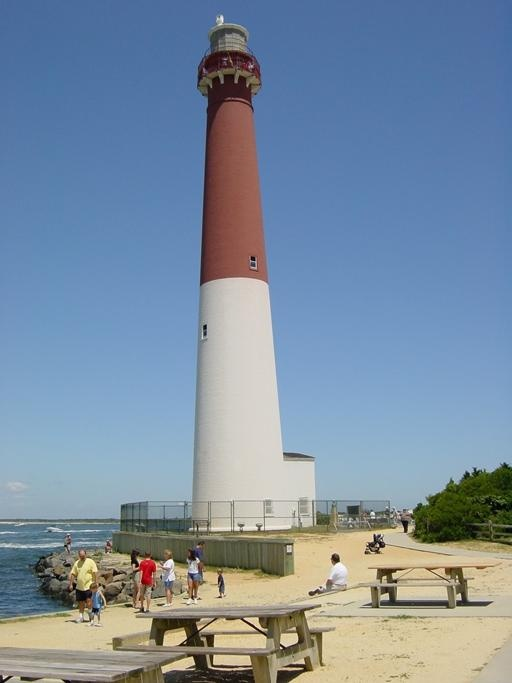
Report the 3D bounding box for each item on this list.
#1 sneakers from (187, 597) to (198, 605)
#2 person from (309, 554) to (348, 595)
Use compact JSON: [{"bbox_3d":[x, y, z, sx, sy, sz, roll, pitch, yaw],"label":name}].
[{"bbox_3d":[-1.701,6.912,17.532,0.151,0.187,0.442,-2,-23,6],"label":"sneakers"},{"bbox_3d":[1.590,5.067,14.195,0.713,0.941,0.589,-5,-22,25],"label":"person"}]
